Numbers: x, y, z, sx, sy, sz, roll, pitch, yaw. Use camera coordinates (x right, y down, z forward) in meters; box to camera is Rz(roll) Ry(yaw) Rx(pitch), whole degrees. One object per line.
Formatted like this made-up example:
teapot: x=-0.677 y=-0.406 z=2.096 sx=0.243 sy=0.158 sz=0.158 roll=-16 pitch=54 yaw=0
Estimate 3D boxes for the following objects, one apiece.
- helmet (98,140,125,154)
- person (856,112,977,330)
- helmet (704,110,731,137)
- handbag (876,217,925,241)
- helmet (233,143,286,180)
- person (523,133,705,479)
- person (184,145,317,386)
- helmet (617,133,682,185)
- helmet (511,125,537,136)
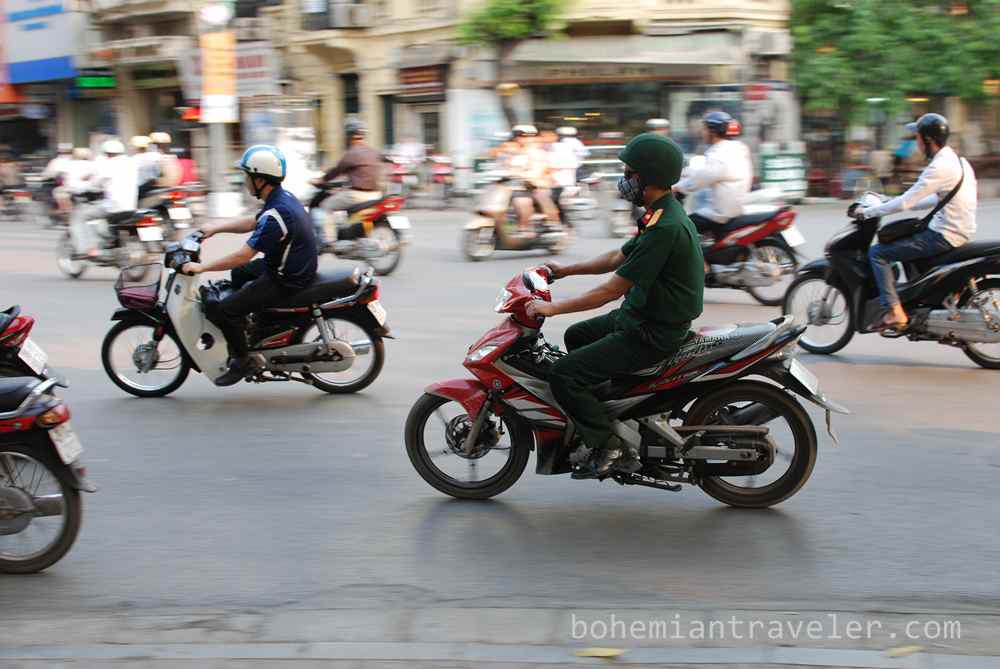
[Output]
helmet: x=-6.110 y=-2.961 z=15.775 sx=0.519 sy=0.120 sz=0.545 roll=-2 pitch=7 yaw=-17
person: x=3.800 y=-1.011 z=9.135 sx=0.893 sy=1.962 sz=1.171 roll=12 pitch=29 yaw=28
helmet: x=2.548 y=-2.458 z=11.781 sx=0.317 sy=0.265 sz=0.363 roll=1 pitch=20 yaw=9
handbag: x=3.655 y=-0.957 z=9.132 sx=0.395 sy=0.080 sz=0.233 roll=-9 pitch=2 yaw=26
helmet: x=-1.926 y=-1.412 z=8.257 sx=0.549 sy=0.164 sz=0.278 roll=9 pitch=8 yaw=4
person: x=0.762 y=-0.151 z=6.113 sx=0.772 sy=2.122 sz=1.089 roll=12 pitch=30 yaw=28
person: x=-2.060 y=-0.575 z=8.381 sx=1.087 sy=1.981 sz=0.499 roll=-22 pitch=33 yaw=-33
helmet: x=0.914 y=-1.048 z=6.067 sx=0.382 sy=0.317 sz=0.329 roll=0 pitch=22 yaw=7
helmet: x=0.428 y=-3.402 z=16.710 sx=0.513 sy=0.123 sz=0.360 roll=0 pitch=2 yaw=5
